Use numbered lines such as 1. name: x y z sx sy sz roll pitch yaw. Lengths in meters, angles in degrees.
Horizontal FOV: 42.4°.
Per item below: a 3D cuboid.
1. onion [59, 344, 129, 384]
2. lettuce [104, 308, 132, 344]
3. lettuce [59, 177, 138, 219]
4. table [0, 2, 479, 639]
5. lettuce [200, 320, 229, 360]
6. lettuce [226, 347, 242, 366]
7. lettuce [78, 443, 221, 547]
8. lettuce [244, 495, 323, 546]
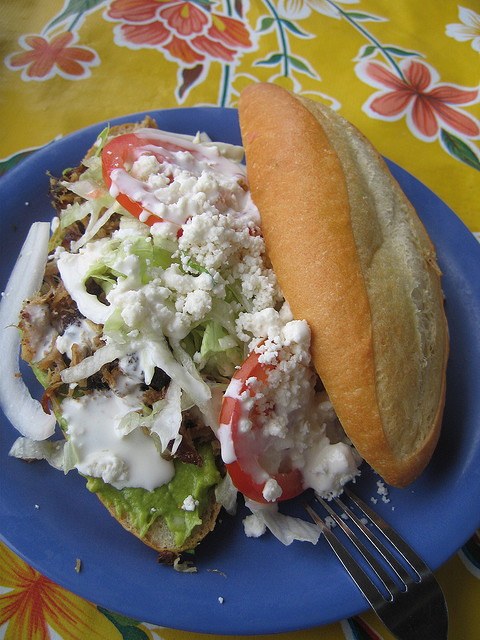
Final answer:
1. onion: -0.452 0.153 1.944 0.302 0.035 0.082 -22 51 14
2. lettuce: -0.365 0.018 1.834 0.024 0.100 0.091 20 103 50
3. lettuce: -0.458 -0.387 2.035 0.183 0.042 0.524 6 27 -21
4. table: 0.132 -0.977 4.023 2.840 0.026 2.629 -2 78 -3
5. lettuce: -0.082 0.059 1.902 0.108 0.039 0.101 -14 88 -15
6. lettuce: -0.018 0.115 1.964 0.041 0.056 0.013 -29 30 6
7. lettuce: -0.241 0.590 2.021 0.412 0.117 0.291 -19 71 -5
8. lettuce: 0.141 0.679 2.069 0.311 0.133 0.041 31 116 50
